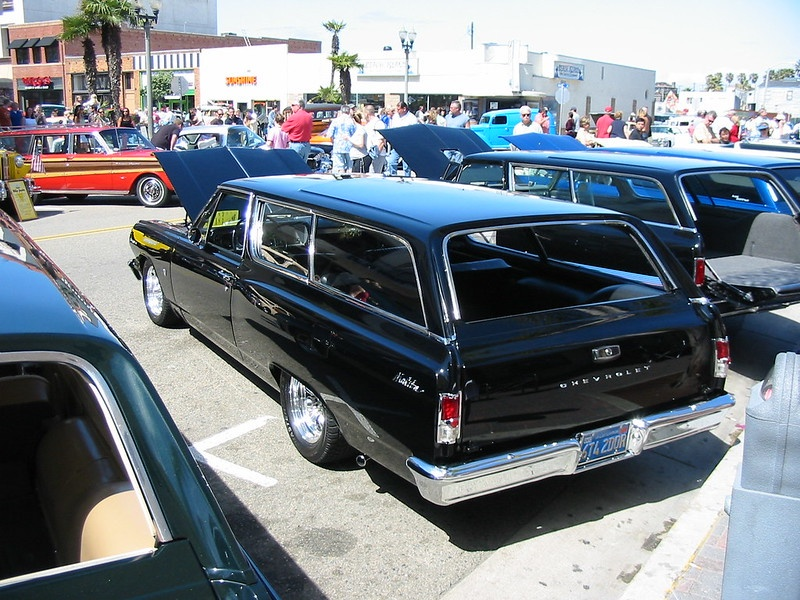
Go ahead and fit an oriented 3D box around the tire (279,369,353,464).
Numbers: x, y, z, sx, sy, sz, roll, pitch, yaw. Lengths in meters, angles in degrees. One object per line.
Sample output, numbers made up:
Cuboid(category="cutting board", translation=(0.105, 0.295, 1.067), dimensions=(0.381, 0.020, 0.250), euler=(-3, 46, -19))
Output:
Cuboid(category="tire", translation=(-0.585, 0.763, 4.026), dimensions=(0.267, 0.693, 0.779), euler=(-4, -2, -34))
